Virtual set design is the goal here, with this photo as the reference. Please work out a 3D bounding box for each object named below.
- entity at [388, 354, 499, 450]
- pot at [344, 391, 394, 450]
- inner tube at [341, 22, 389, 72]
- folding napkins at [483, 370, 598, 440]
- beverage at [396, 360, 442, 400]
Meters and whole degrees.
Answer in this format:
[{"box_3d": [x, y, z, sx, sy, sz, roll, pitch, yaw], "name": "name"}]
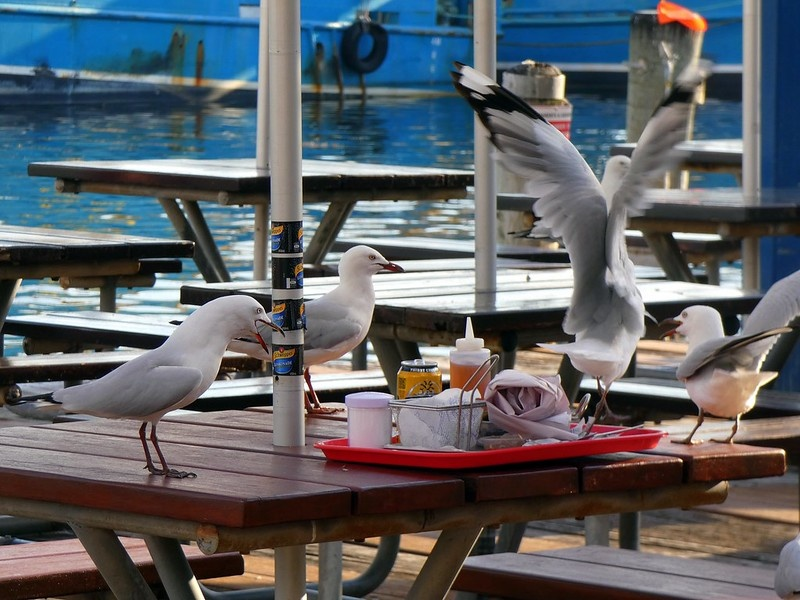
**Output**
[{"box_3d": [0.097, 0.293, 4.662, 0.271, 0.204, 0.201, 5, 6, 44], "name": "entity"}, {"box_3d": [-0.088, 0.314, 4.596, 0.164, 0.136, 0.145, 0, 3, 19], "name": "pot"}, {"box_3d": [-0.838, -5.253, 35.813, 1.262, 1.007, 0.326, -9, 12, -38], "name": "inner tube"}, {"box_3d": [0.368, 0.283, 4.605, 0.254, 0.173, 0.108, 8, 7, -3], "name": "folding napkins"}, {"box_3d": [0.047, 0.222, 4.839, 0.102, 0.141, 0.103, 10, 14, 36], "name": "beverage"}]
